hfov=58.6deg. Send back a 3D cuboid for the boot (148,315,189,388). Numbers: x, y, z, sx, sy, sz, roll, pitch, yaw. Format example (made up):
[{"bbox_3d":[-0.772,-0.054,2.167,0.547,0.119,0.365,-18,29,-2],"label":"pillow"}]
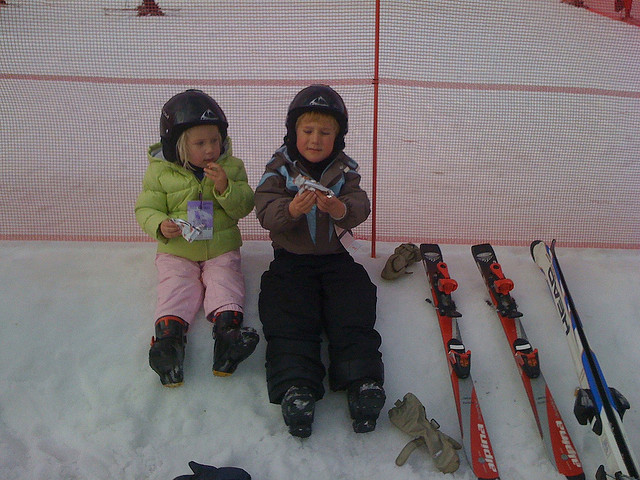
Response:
[{"bbox_3d":[-0.868,0.602,3.260,0.215,0.162,0.387,-21,50,3],"label":"boot"}]

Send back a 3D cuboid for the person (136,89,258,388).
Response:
[{"bbox_3d":[-0.735,-0.048,3.395,0.720,1.611,0.864,-4,15,-15],"label":"person"}]

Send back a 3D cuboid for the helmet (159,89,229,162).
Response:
[{"bbox_3d":[-0.818,-0.767,3.577,0.459,0.420,0.399,23,37,31],"label":"helmet"}]

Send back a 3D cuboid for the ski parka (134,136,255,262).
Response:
[{"bbox_3d":[-0.815,-0.256,3.666,0.698,0.818,0.518,-6,10,-17],"label":"ski parka"}]

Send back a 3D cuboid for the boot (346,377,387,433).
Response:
[{"bbox_3d":[0.242,0.868,3.090,0.164,0.312,0.116,8,16,1],"label":"boot"}]

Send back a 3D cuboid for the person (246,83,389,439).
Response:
[{"bbox_3d":[-0.014,0.004,3.486,0.897,1.834,1.442,-1,15,-5],"label":"person"}]

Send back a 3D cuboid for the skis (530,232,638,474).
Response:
[{"bbox_3d":[1.555,0.416,3.556,0.217,0.295,2.030,-4,42,10],"label":"skis"}]

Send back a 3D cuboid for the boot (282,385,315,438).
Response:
[{"bbox_3d":[-0.131,0.948,3.022,0.194,0.111,0.286,20,19,-25],"label":"boot"}]

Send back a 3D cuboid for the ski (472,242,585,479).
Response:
[{"bbox_3d":[1.235,0.591,3.496,0.170,0.139,1.628,-9,52,2],"label":"ski"}]

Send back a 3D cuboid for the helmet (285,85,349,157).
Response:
[{"bbox_3d":[-0.025,-0.712,3.563,0.415,0.476,0.495,5,-8,-10],"label":"helmet"}]

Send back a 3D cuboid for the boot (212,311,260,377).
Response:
[{"bbox_3d":[-0.495,0.597,3.244,0.255,0.316,0.277,-2,15,-10],"label":"boot"}]
